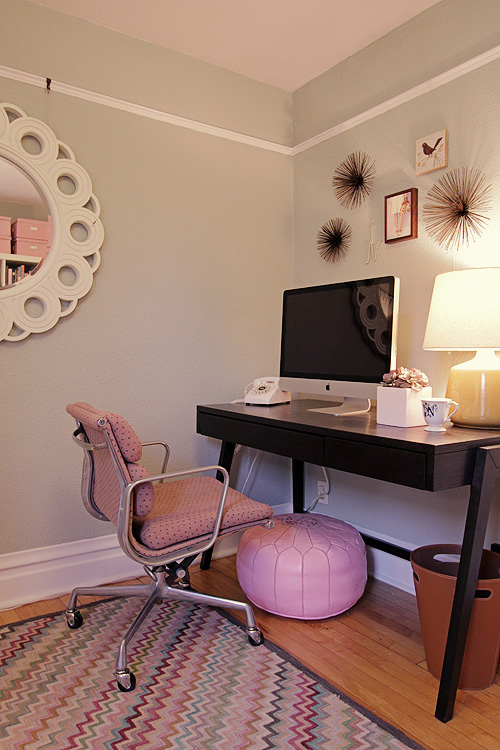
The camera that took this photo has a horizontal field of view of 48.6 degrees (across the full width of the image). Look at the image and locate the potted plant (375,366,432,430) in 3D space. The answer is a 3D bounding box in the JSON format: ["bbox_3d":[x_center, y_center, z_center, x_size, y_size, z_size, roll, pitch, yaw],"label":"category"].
[{"bbox_3d":[0.502,0.075,1.793,0.139,0.172,0.159,-1,5,-31],"label":"potted plant"}]

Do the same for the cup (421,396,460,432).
[{"bbox_3d":[0.571,0.116,1.660,0.091,0.091,0.115,2,4,3],"label":"cup"}]

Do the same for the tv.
[{"bbox_3d":[0.386,-0.118,2.282,0.184,0.512,0.566,1,1,-44],"label":"tv"}]

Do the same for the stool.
[{"bbox_3d":[0.198,0.702,2.158,0.497,0.266,0.512,-1,4,15],"label":"stool"}]

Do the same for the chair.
[{"bbox_3d":[-0.278,0.491,1.855,0.680,0.784,0.732,-1,4,15],"label":"chair"}]
